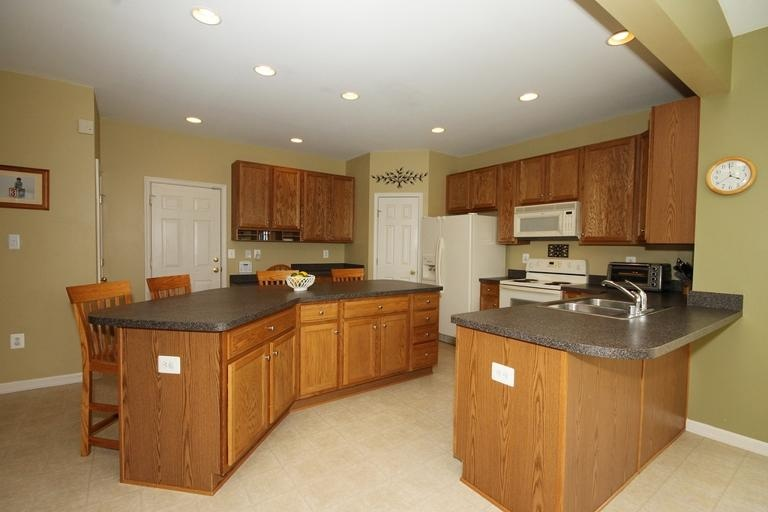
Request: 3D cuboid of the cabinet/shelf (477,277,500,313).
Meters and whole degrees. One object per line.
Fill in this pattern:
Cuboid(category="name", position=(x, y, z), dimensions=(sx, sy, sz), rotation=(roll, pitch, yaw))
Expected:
Cuboid(category="cabinet/shelf", position=(1.374, 0.485, 6.505), dimensions=(0.176, 0.390, 0.345), rotation=(-3, 3, -28))

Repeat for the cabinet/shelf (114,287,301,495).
Cuboid(category="cabinet/shelf", position=(-1.563, 1.120, 4.632), dimensions=(1.237, 1.495, 2.025), rotation=(0, 0, 6))

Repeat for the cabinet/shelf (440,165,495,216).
Cuboid(category="cabinet/shelf", position=(1.176, -0.898, 7.040), dimensions=(0.314, 0.683, 0.808), rotation=(2, 0, -39))

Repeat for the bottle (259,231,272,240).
Cuboid(category="bottle", position=(-1.627, -0.268, 6.967), dimensions=(0.121, 0.158, 0.169), rotation=(0, 1, -28))

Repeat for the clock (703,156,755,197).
Cuboid(category="clock", position=(3.020, -0.699, 4.404), dimensions=(0.384, 0.377, 0.051), rotation=(-3, -10, 38))

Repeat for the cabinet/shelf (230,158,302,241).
Cuboid(category="cabinet/shelf", position=(-1.642, -0.762, 6.878), dimensions=(1.203, 1.317, 0.423), rotation=(1, -1, -37))
